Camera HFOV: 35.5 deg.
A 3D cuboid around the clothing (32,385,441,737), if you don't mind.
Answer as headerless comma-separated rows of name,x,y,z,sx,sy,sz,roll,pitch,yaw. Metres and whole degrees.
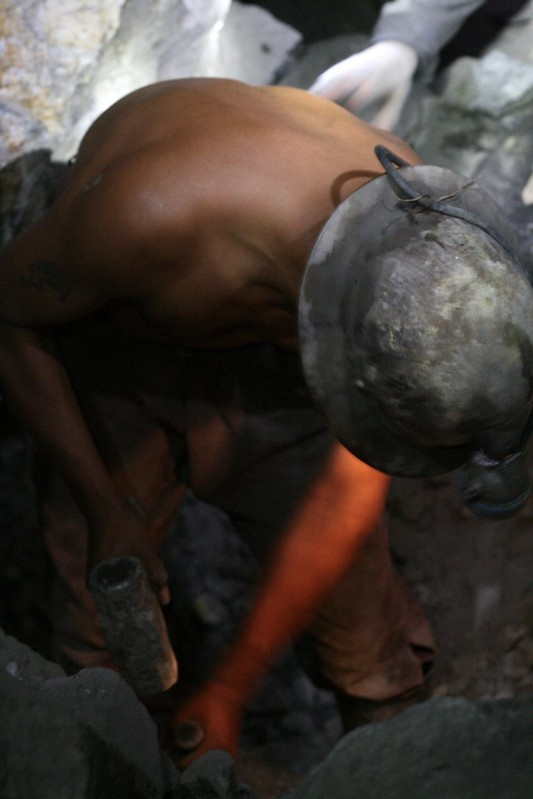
clothing,-0.080,0.343,1.728,0.318,0.865,0.330,28,92,38
